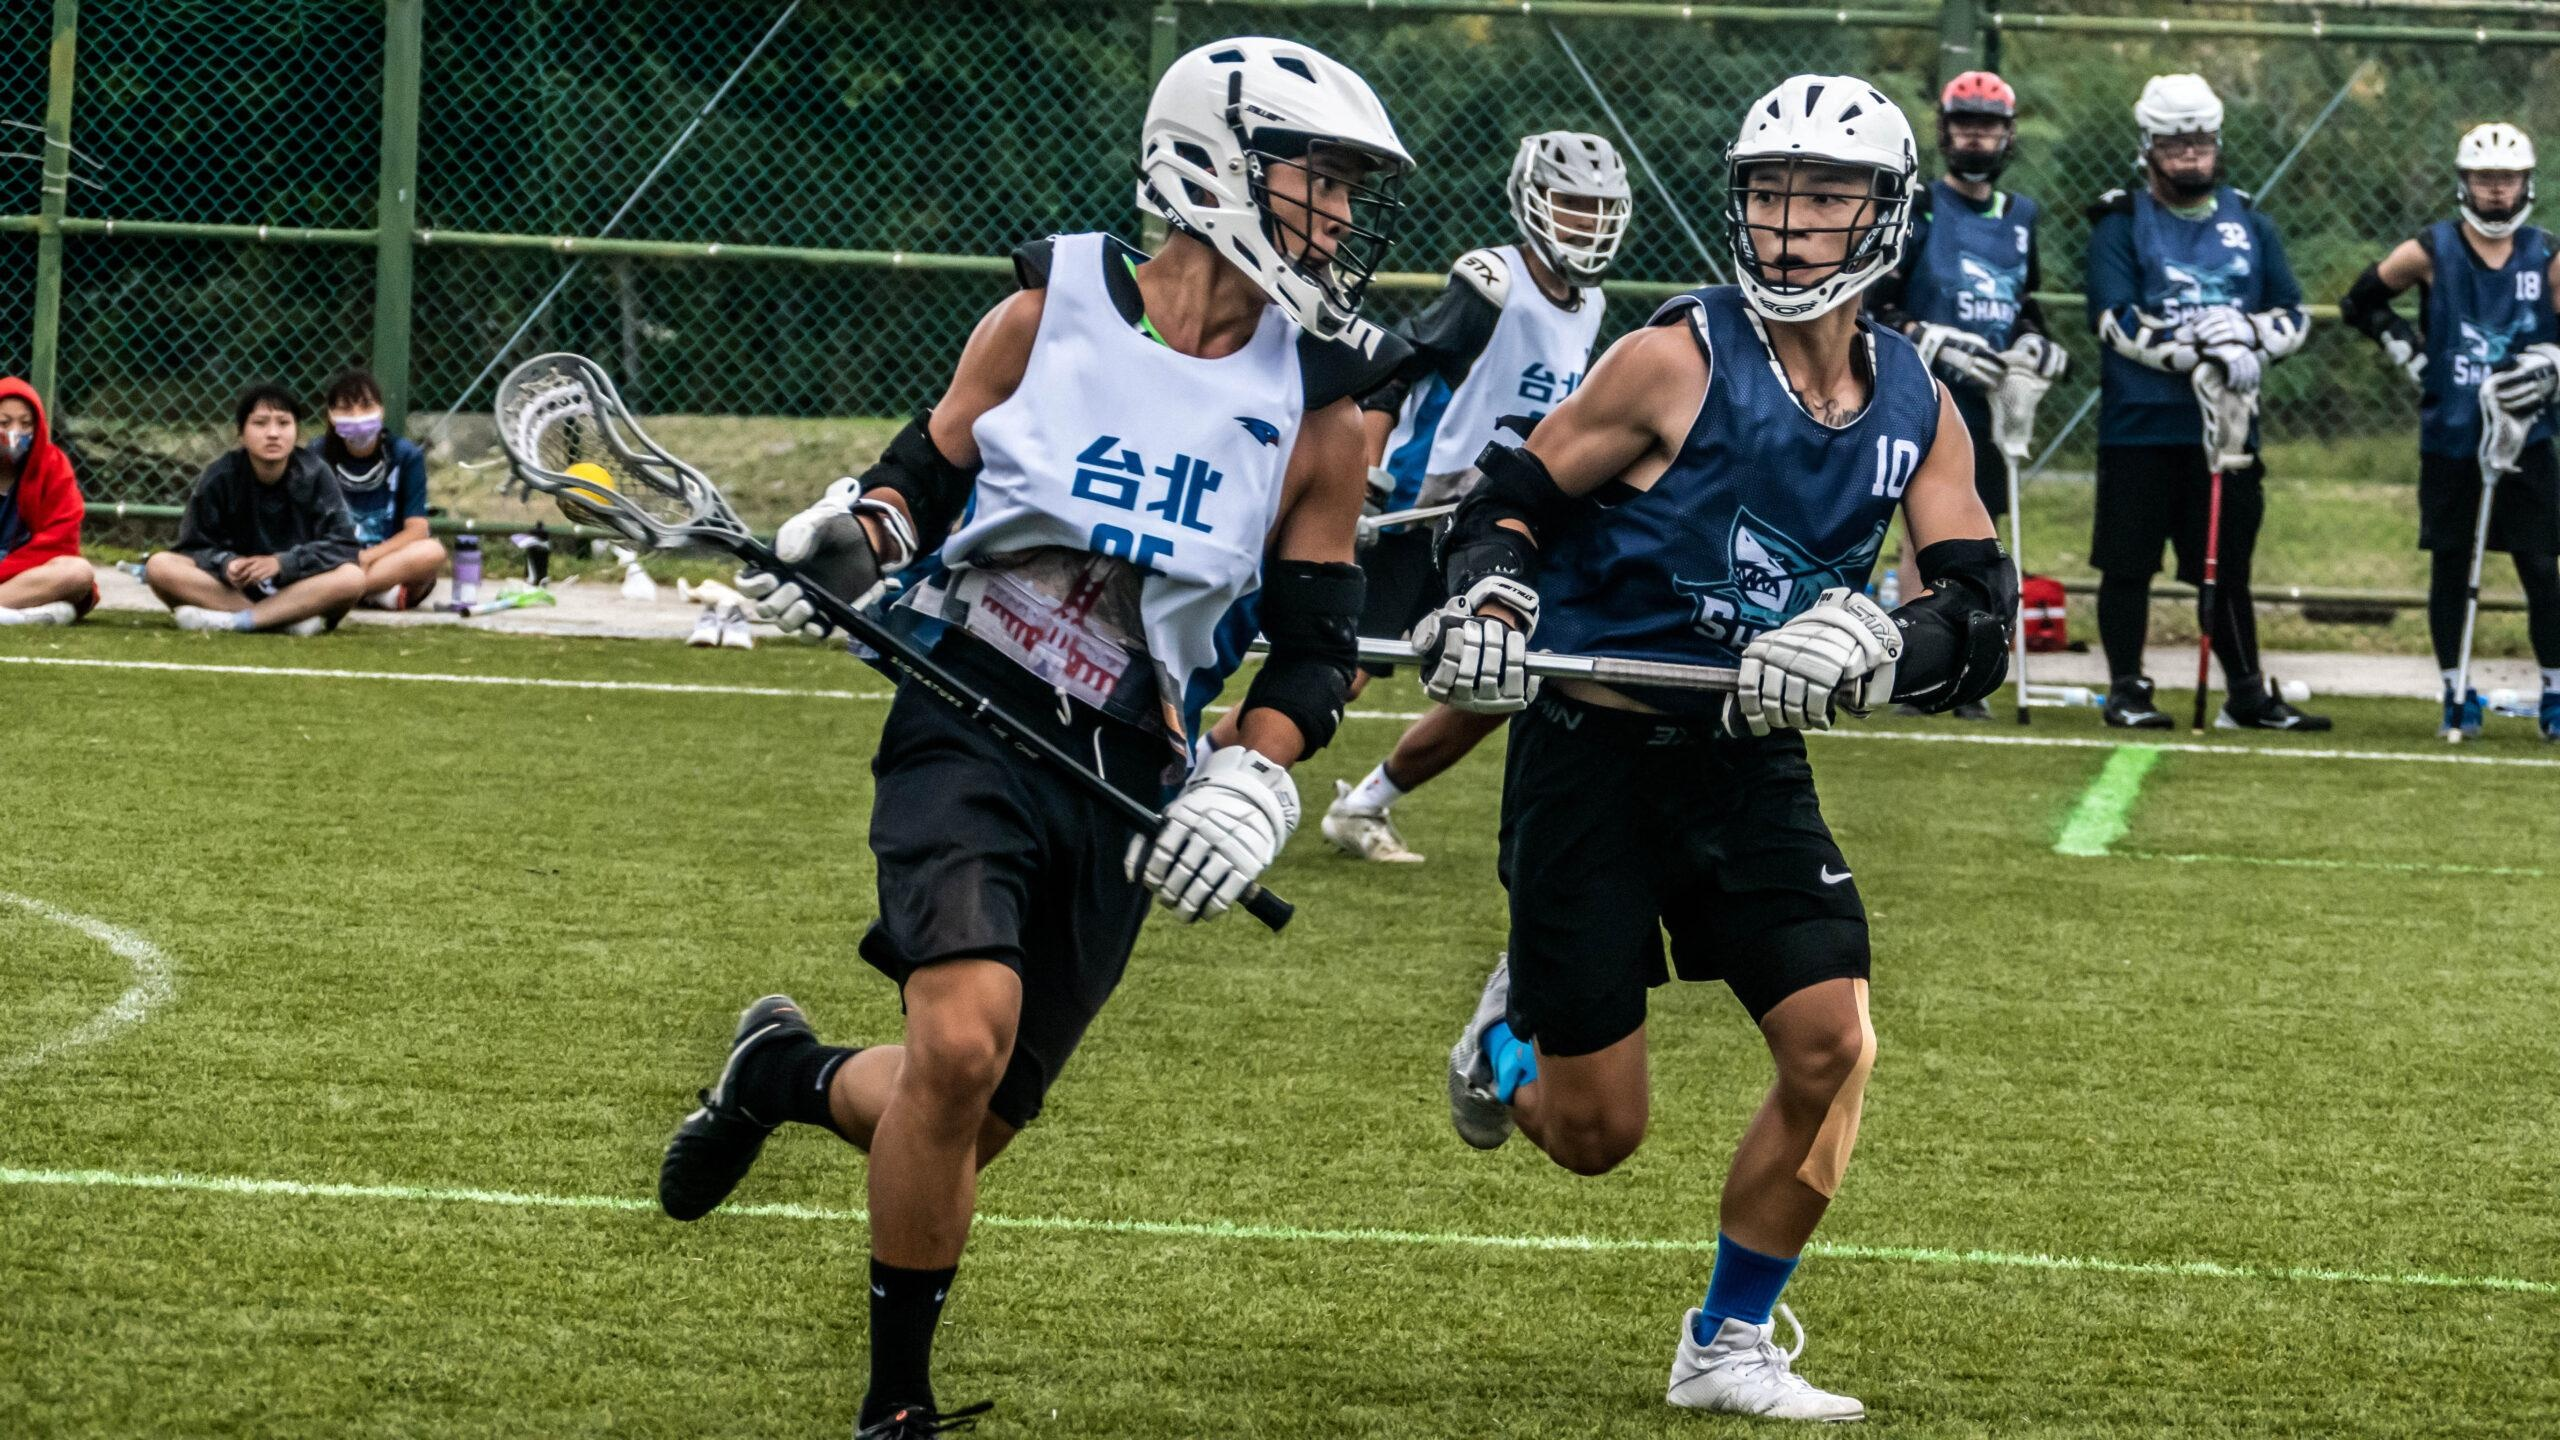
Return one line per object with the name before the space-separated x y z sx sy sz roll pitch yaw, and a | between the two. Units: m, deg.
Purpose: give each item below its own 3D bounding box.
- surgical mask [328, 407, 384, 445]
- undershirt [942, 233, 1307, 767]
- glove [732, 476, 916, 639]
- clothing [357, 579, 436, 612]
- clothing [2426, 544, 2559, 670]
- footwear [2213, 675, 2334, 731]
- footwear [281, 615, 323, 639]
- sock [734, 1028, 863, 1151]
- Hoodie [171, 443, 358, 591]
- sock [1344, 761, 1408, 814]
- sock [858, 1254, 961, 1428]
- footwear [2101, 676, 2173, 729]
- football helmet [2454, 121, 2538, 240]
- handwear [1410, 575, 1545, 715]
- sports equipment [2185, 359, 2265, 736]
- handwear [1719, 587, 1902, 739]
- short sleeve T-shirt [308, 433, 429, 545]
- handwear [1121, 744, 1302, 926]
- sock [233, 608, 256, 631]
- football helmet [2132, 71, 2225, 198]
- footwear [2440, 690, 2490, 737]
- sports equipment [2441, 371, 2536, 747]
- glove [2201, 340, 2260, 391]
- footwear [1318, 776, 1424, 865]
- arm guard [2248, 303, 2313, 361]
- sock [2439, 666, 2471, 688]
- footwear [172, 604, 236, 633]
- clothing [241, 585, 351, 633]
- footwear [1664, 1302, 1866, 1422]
surgical mask | -5.287 -1.650 14.406 0.215 0.139 0.251 -1 25 -11
undershirt | -0.410 -0.569 6.571 0.972 1.325 0.779 23 1 -4
glove | -1.193 -0.418 6.564 0.354 0.463 0.199 33 -5 -3
clothing | -5.229 -0.722 14.737 0.324 0.139 0.195 -3 6 7
clothing | 6.596 -0.632 13.753 0.661 0.871 0.348 -7 0 21
footwear | 5.111 -0.098 13.106 0.693 0.311 0.264 0 6 -1
footwear | -5.405 -0.538 13.958 0.150 0.054 0.143 -18 0 13
sock | -1.250 0.990 6.840 0.507 0.227 0.181 5 24 22
Hoodie | -5.673 -1.133 14.229 1.036 0.896 0.721 3 -1 -14
sock | 0.363 0.272 10.231 0.164 0.096 0.250 -30 6 -34
sock | -0.992 1.589 6.487 0.252 0.436 0.117 4 4 24
footwear | 4.407 -0.088 13.163 0.179 0.212 0.502 0 -1 -19
football helmet | 6.149 -2.754 12.797 0.331 0.593 0.403 4 4 23
handwear | 0.526 -0.220 6.865 0.350 0.359 0.243 2 3 3
sports equipment | 4.712 -0.868 12.747 0.303 1.845 0.656 4 4 20
handwear | 1.451 -0.160 6.746 0.464 0.368 0.168 0 4 -27
short sleeve T-shirt | -5.264 -1.314 14.449 0.640 0.574 0.337 -8 4 -19
handwear | -0.151 0.302 6.617 0.475 0.380 0.228 -41 -7 -6
sock | -5.693 -0.560 13.855 0.113 0.109 0.110 3 2 -5
football helmet | 4.514 -3.046 12.724 0.365 0.441 0.358 3 4 17
footwear | 6.106 -0.035 13.042 0.224 0.263 0.153 3 -9 -13
sports equipment | 6.181 -0.869 12.939 0.314 1.929 0.509 4 4 26
glove | 4.718 -1.748 12.475 0.341 0.234 0.195 2 4 -3
footwear | 0.378 0.428 10.380 0.404 0.270 0.248 5 -2 27
arm guard | 5.016 -1.953 12.683 0.271 0.346 0.115 0 5 -32
sock | 6.056 -0.226 13.036 0.160 0.056 0.223 6 10 25
footwear | -5.893 -0.559 13.852 0.280 0.108 0.158 2 7 -12
clothing | -5.399 -0.660 13.901 0.369 0.111 0.323 -19 4 -9
footwear | 1.262 1.755 6.946 0.652 0.307 0.217 3 -2 9
